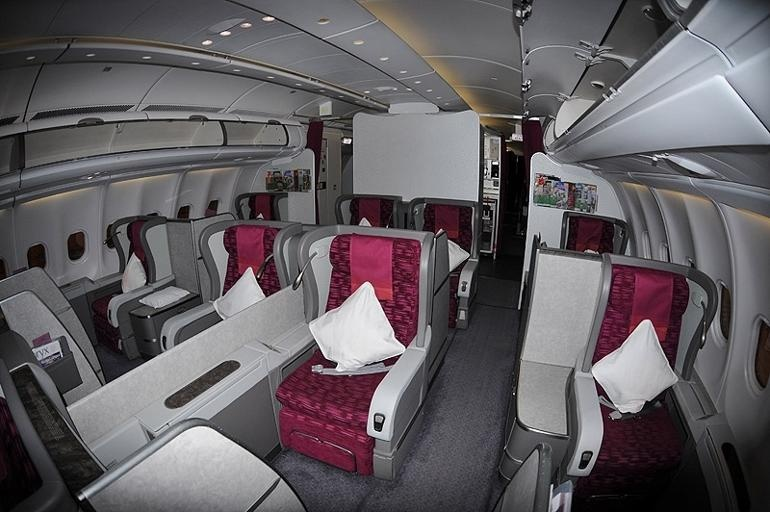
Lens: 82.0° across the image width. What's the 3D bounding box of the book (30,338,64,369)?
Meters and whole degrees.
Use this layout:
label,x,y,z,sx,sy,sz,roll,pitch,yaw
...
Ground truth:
label,x,y,z,sx,sy,sz,roll,pitch,yaw
book,-2.204,0.636,2.879,0.027,0.138,0.200,-13,4,27
